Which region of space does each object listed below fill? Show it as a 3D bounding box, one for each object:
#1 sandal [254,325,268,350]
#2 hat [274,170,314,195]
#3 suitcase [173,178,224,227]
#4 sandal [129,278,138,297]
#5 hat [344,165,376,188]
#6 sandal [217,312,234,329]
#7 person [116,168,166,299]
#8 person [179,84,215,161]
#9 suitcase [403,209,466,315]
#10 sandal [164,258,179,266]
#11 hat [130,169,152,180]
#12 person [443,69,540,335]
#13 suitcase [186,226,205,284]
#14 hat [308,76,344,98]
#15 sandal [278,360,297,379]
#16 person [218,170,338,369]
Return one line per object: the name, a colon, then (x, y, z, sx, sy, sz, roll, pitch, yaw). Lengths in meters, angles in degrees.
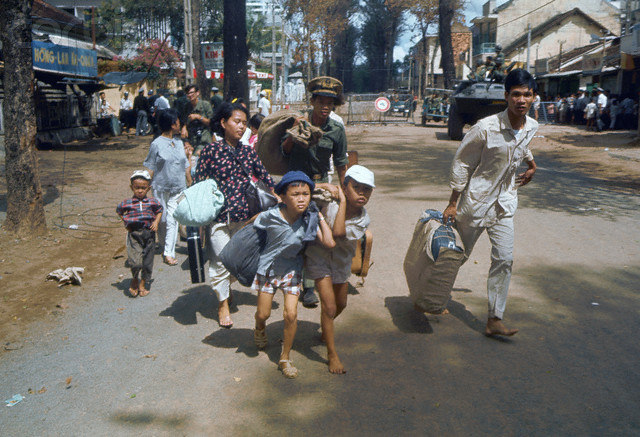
sandal: (-0.570, 1.132, 5.024, 0.123, 0.253, 0.156, -4, 17, -7)
hat: (-0.220, -0.334, 4.773, 0.332, 0.128, 0.348, -4, 2, -14)
suitcase: (-1.195, -0.146, 5.176, 0.416, 0.172, 0.465, 42, 74, 15)
sandal: (-2.202, 0.819, 6.147, 0.061, 0.198, 0.077, -10, -19, -38)
hat: (0.361, -0.381, 4.740, 0.257, 0.188, 0.215, -1, 16, 2)
sandal: (-0.985, 1.083, 5.455, 0.088, 0.087, 0.219, 0, -1, -22)
person: (-2.171, 0.165, 6.229, 0.448, 1.392, 0.707, -1, 16, 4)
person: (-2.186, -1.458, 9.216, 0.606, 1.745, 0.532, -5, 9, -41)
suitcase: (1.220, 0.494, 5.449, 0.458, 0.935, 0.754, 10, 26, -19)
sandal: (-2.044, 0.581, 7.141, 0.206, 0.093, 0.117, -1, 16, 2)
hat: (-2.162, -0.542, 6.363, 0.162, 0.082, 0.228, -2, -2, -4)
person: (1.689, -0.168, 5.208, 0.771, 2.534, 0.757, 4, 18, 21)
suitcase: (-1.379, 0.412, 5.735, 0.172, 0.507, 0.528, -6, 40, -6)
hat: (0.052, -1.413, 5.564, 0.363, 0.213, 0.286, -1, 16, 1)
sandal: (-0.276, 1.330, 4.622, 0.148, 0.145, 0.143, -3, 16, -5)
person: (-0.389, 0.419, 4.861, 1.088, 1.737, 0.708, 13, 22, 42)
